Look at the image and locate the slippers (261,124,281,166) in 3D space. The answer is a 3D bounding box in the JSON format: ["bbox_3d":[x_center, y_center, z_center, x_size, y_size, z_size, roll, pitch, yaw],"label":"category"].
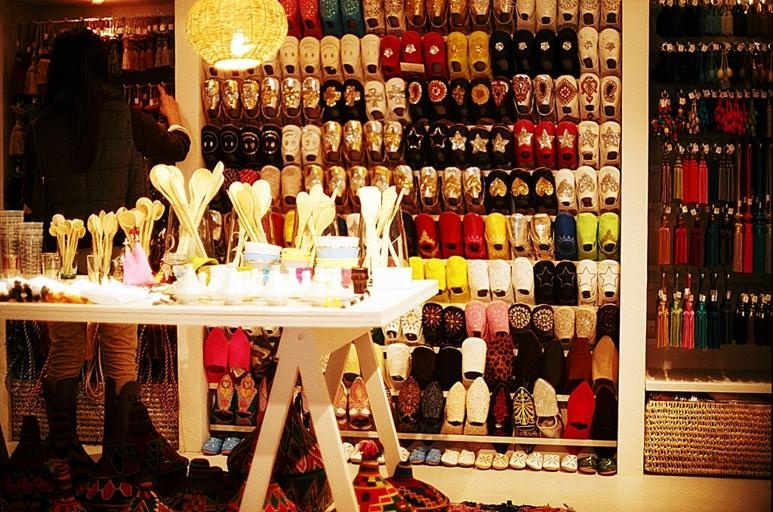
[{"bbox_3d":[-0.722,-0.708,4.419,0.125,0.255,0.085,-1,15,6],"label":"slippers"}]

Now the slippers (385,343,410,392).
[{"bbox_3d":[0.071,0.715,4.352,0.125,0.311,0.116,1,16,13],"label":"slippers"}]

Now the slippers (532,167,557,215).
[{"bbox_3d":[0.972,-0.391,4.260,0.099,0.336,0.124,0,3,13],"label":"slippers"}]

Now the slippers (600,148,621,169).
[{"bbox_3d":[1.348,-0.590,4.184,0.058,0.075,0.184,1,15,6],"label":"slippers"}]

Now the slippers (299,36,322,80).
[{"bbox_3d":[-0.486,-1.273,4.436,0.126,0.243,0.081,-1,11,3],"label":"slippers"}]

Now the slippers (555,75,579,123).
[{"bbox_3d":[1.097,-0.963,4.234,0.125,0.264,0.084,3,21,19],"label":"slippers"}]

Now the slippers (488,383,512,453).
[{"bbox_3d":[0.683,0.948,4.172,0.130,0.422,0.120,1,7,11],"label":"slippers"}]

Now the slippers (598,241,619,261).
[{"bbox_3d":[1.332,-0.031,4.193,0.113,0.115,0.196,5,13,5],"label":"slippers"}]

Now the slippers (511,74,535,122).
[{"bbox_3d":[0.842,-0.991,4.292,0.095,0.297,0.079,0,21,15],"label":"slippers"}]

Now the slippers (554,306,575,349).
[{"bbox_3d":[1.083,0.436,4.236,0.097,0.240,0.082,2,11,14],"label":"slippers"}]

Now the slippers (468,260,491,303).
[{"bbox_3d":[0.569,0.131,4.287,0.089,0.302,0.103,-3,11,11],"label":"slippers"}]

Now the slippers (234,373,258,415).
[{"bbox_3d":[-0.857,0.856,4.332,0.127,0.240,0.060,3,2,1],"label":"slippers"}]

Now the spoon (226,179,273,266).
[{"bbox_3d":[-0.542,-0.133,2.790,0.162,0.339,0.193,-1,8,-13],"label":"spoon"}]

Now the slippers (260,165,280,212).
[{"bbox_3d":[-0.705,-0.466,4.374,0.116,0.354,0.123,-1,13,5],"label":"slippers"}]

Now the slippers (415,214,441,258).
[{"bbox_3d":[0.262,-0.123,4.395,0.102,0.337,0.103,-6,14,14],"label":"slippers"}]

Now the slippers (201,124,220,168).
[{"bbox_3d":[-1.078,-0.692,4.343,0.086,0.281,0.106,2,17,4],"label":"slippers"}]

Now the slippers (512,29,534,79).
[{"bbox_3d":[0.842,-1.253,4.277,0.101,0.316,0.109,0,3,2],"label":"slippers"}]

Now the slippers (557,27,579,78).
[{"bbox_3d":[1.101,-1.241,4.230,0.093,0.345,0.130,1,16,10],"label":"slippers"}]

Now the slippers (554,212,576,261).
[{"bbox_3d":[1.082,-0.119,4.218,0.095,0.321,0.119,2,13,14],"label":"slippers"}]

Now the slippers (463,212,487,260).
[{"bbox_3d":[0.542,-0.127,4.307,0.106,0.318,0.116,-3,10,11],"label":"slippers"}]

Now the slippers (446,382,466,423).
[{"bbox_3d":[0.423,0.894,4.258,0.115,0.230,0.071,1,-4,9],"label":"slippers"}]

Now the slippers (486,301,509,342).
[{"bbox_3d":[0.682,0.384,4.283,0.094,0.276,0.095,0,5,12],"label":"slippers"}]

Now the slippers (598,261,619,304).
[{"bbox_3d":[1.310,0.136,4.110,0.087,0.275,0.093,3,16,16],"label":"slippers"}]

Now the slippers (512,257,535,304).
[{"bbox_3d":[0.831,0.135,4.243,0.101,0.315,0.119,0,15,11],"label":"slippers"}]

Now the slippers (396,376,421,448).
[{"bbox_3d":[0.134,0.914,4.217,0.132,0.304,0.080,2,2,13],"label":"slippers"}]

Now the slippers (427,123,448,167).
[{"bbox_3d":[0.309,-0.689,4.289,0.122,0.256,0.081,1,14,20],"label":"slippers"}]

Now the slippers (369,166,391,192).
[{"bbox_3d":[-0.027,-0.482,4.377,0.158,0.197,0.166,3,6,17],"label":"slippers"}]

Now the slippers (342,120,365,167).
[{"bbox_3d":[-0.205,-0.716,4.350,0.099,0.304,0.106,0,15,2],"label":"slippers"}]

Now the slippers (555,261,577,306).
[{"bbox_3d":[1.085,0.155,4.216,0.092,0.300,0.112,1,7,10],"label":"slippers"}]

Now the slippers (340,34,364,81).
[{"bbox_3d":[-0.211,-1.266,4.379,0.098,0.311,0.115,-1,19,10],"label":"slippers"}]

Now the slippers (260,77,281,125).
[{"bbox_3d":[-0.728,-1.000,4.427,0.119,0.261,0.081,0,2,8],"label":"slippers"}]

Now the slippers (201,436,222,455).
[{"bbox_3d":[-1.065,1.174,4.285,0.058,0.057,0.136,-1,2,5],"label":"slippers"}]

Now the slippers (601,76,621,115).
[{"bbox_3d":[1.340,-0.966,4.161,0.109,0.230,0.071,2,13,18],"label":"slippers"}]

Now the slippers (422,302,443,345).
[{"bbox_3d":[0.281,0.413,4.315,0.093,0.279,0.098,2,14,14],"label":"slippers"}]

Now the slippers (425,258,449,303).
[{"bbox_3d":[0.305,0.164,4.282,0.121,0.271,0.100,0,17,17],"label":"slippers"}]

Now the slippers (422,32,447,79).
[{"bbox_3d":[0.296,-1.252,4.404,0.104,0.356,0.124,-3,14,5],"label":"slippers"}]

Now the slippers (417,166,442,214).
[{"bbox_3d":[0.260,-0.426,4.326,0.094,0.314,0.119,0,11,10],"label":"slippers"}]

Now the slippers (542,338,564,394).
[{"bbox_3d":[1.010,0.663,4.253,0.105,0.344,0.116,2,2,15],"label":"slippers"}]

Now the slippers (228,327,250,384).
[{"bbox_3d":[-0.899,0.606,4.270,0.112,0.341,0.082,2,11,1],"label":"slippers"}]

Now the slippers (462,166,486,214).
[{"bbox_3d":[0.535,-0.421,4.313,0.097,0.320,0.123,-3,25,7],"label":"slippers"}]

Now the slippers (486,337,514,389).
[{"bbox_3d":[0.687,0.639,4.238,0.159,0.301,0.093,1,3,8],"label":"slippers"}]

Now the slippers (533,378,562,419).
[{"bbox_3d":[0.944,0.854,4.153,0.119,0.248,0.077,-6,1,31],"label":"slippers"}]

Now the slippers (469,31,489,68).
[{"bbox_3d":[0.573,-1.281,4.313,0.114,0.231,0.078,1,13,11],"label":"slippers"}]

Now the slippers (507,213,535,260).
[{"bbox_3d":[0.817,-0.130,4.272,0.107,0.321,0.121,-5,10,17],"label":"slippers"}]

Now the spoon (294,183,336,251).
[{"bbox_3d":[-0.297,-0.155,2.893,0.120,0.334,0.058,6,-8,22],"label":"spoon"}]

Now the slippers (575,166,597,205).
[{"bbox_3d":[1.191,-0.424,4.179,0.113,0.238,0.089,-1,8,24],"label":"slippers"}]

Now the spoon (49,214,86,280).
[{"bbox_3d":[-1.334,-0.049,2.926,0.125,0.252,0.257,-3,9,-26],"label":"spoon"}]

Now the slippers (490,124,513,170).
[{"bbox_3d":[0.721,-0.679,4.326,0.098,0.307,0.114,1,13,9],"label":"slippers"}]

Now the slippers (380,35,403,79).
[{"bbox_3d":[0.026,-1.264,4.379,0.095,0.314,0.108,0,16,10],"label":"slippers"}]

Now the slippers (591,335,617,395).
[{"bbox_3d":[1.303,0.648,4.163,0.123,0.386,0.099,2,2,21],"label":"slippers"}]

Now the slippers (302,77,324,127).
[{"bbox_3d":[-0.474,-0.987,4.432,0.095,0.295,0.091,1,21,5],"label":"slippers"}]

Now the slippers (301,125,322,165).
[{"bbox_3d":[-0.468,-0.705,4.362,0.117,0.235,0.072,1,7,4],"label":"slippers"}]

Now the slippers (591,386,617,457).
[{"bbox_3d":[1.305,0.967,4.187,0.133,0.432,0.132,3,9,16],"label":"slippers"}]

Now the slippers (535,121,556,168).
[{"bbox_3d":[0.966,-0.683,4.240,0.086,0.322,0.108,1,14,14],"label":"slippers"}]
